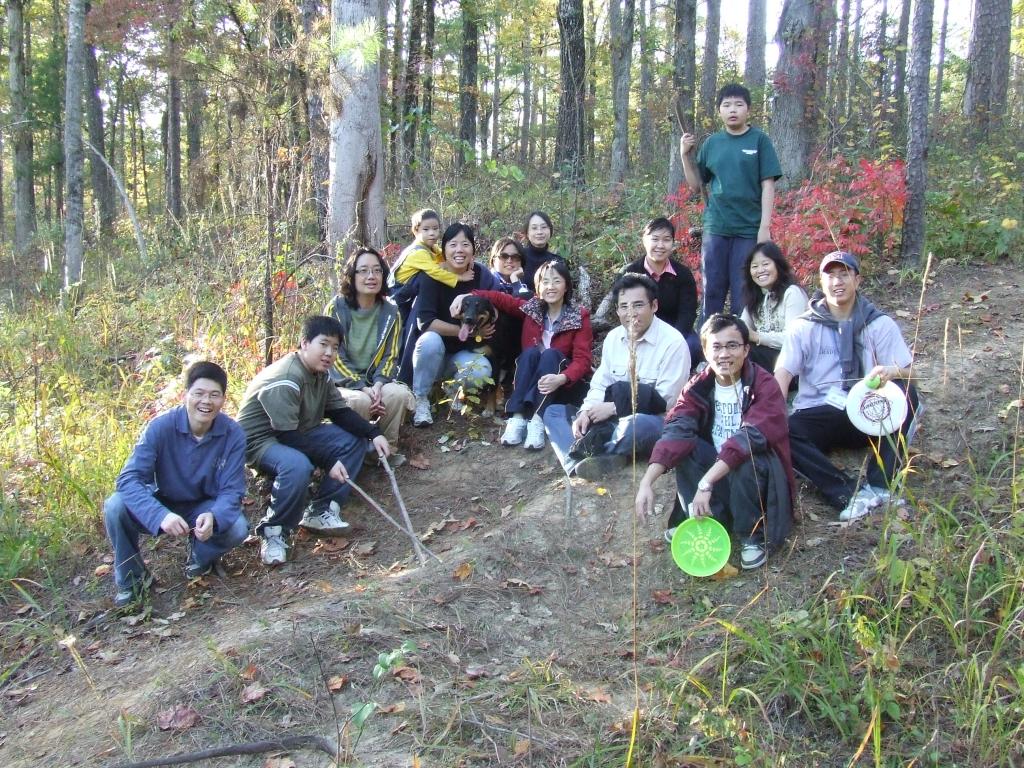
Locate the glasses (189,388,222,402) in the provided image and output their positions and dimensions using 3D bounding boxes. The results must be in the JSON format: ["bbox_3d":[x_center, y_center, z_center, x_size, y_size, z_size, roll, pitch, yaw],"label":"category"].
[{"bbox_3d":[-2.091,0.070,5.932,0.184,0.086,0.034,-9,15,-26],"label":"glasses"}]

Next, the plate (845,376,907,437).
[{"bbox_3d":[2.432,0.167,5.746,0.391,0.424,0.373,4,15,24],"label":"plate"}]

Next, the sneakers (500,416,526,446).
[{"bbox_3d":[0.021,0.384,7.179,0.142,0.117,0.278,10,56,15],"label":"sneakers"}]

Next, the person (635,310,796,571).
[{"bbox_3d":[1.401,0.326,5.689,0.804,1.487,1.038,3,20,34],"label":"person"}]

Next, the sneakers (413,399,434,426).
[{"bbox_3d":[-0.744,0.230,7.481,0.143,0.229,0.227,7,16,32],"label":"sneakers"}]

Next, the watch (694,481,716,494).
[{"bbox_3d":[1.235,0.637,5.521,0.101,0.095,0.070,-40,50,4],"label":"watch"}]

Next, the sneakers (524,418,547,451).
[{"bbox_3d":[0.193,0.409,7.004,0.120,0.127,0.284,-1,20,6],"label":"sneakers"}]

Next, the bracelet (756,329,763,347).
[{"bbox_3d":[1.938,-0.351,6.748,0.027,0.102,0.072,-3,13,15],"label":"bracelet"}]

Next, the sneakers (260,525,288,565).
[{"bbox_3d":[-1.719,1.145,6.216,0.184,0.261,0.186,-6,14,-16],"label":"sneakers"}]

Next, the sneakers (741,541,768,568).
[{"bbox_3d":[1.548,1.084,5.520,0.166,0.162,0.105,2,14,18],"label":"sneakers"}]

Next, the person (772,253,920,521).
[{"bbox_3d":[2.318,0.009,6.071,0.967,1.875,0.933,-6,-7,18],"label":"person"}]
